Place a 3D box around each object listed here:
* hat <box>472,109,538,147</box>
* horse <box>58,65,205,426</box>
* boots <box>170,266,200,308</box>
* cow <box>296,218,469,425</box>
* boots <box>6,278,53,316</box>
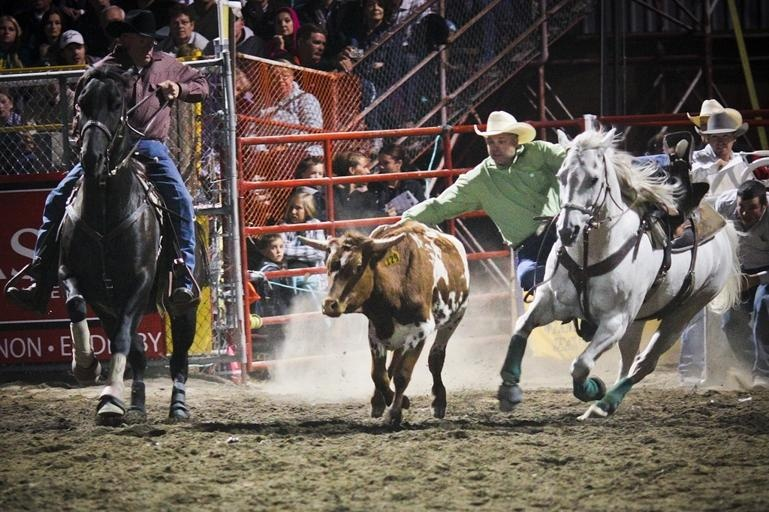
[{"bbox_3d":[1.433,-1.441,14.079,0.458,0.207,0.515,-10,-20,40],"label":"hat"},{"bbox_3d":[-2.720,-0.102,13.355,1.283,3.741,0.978,-12,19,-35],"label":"horse"},{"bbox_3d":[-2.160,0.333,13.673,0.200,0.244,0.566,0,-27,-8],"label":"boots"},{"bbox_3d":[0.130,0.723,13.384,1.711,2.046,0.715,-9,17,-29],"label":"cow"},{"bbox_3d":[-3.820,0.453,13.631,0.483,0.414,0.240,-5,16,-17],"label":"boots"}]
